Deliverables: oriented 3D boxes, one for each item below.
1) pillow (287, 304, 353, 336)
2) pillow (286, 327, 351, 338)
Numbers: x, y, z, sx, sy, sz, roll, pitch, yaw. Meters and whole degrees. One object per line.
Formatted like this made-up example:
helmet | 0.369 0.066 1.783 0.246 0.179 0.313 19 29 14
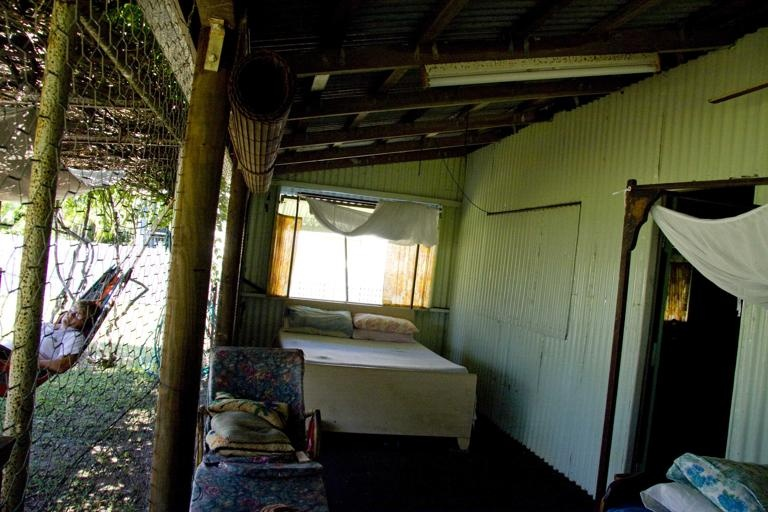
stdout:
pillow | -0.893 0.895 7.540 0.573 0.176 0.501 7 18 -9
pillow | -0.892 1.032 7.355 0.631 0.137 0.075 1 16 -4
